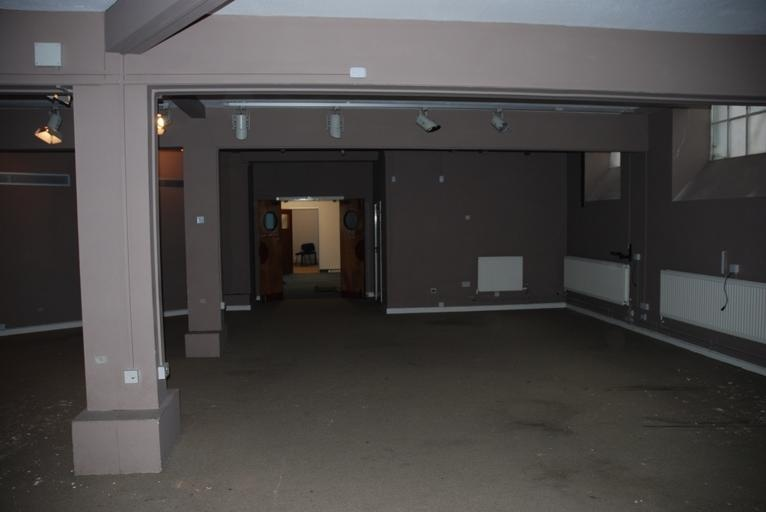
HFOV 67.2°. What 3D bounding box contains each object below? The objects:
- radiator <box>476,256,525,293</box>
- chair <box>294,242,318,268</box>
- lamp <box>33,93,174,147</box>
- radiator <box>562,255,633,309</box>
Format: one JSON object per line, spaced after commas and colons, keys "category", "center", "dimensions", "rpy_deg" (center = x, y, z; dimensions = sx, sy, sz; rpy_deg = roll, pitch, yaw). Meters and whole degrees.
{"category": "radiator", "center": [2.285, 0.347, 11.066], "dimensions": [0.910, 0.680, 0.213], "rpy_deg": [-3, 4, -6]}
{"category": "chair", "center": [-2.512, -0.058, 19.002], "dimensions": [0.717, 1.043, 0.776], "rpy_deg": [-1, 3, 1]}
{"category": "lamp", "center": [-3.733, -1.867, 7.733], "dimensions": [1.700, 0.841, 0.428], "rpy_deg": [-5, 4, -37]}
{"category": "radiator", "center": [3.873, 0.378, 10.301], "dimensions": [0.172, 0.679, 1.551], "rpy_deg": [-7, 10, -23]}
